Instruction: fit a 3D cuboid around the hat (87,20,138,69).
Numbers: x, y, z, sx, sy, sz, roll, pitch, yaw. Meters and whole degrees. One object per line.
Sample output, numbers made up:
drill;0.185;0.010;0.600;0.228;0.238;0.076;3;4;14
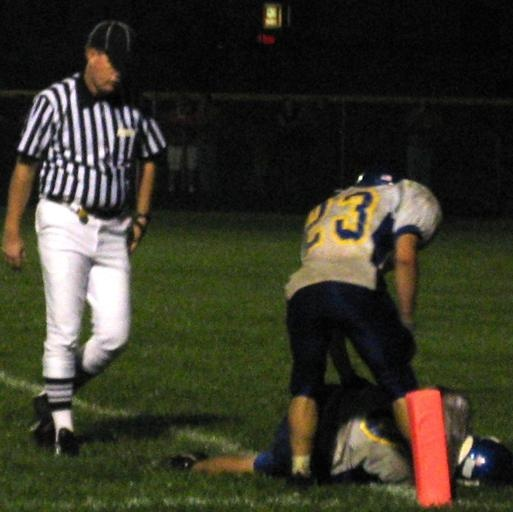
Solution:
hat;-0.700;-1.023;4.344;0.237;0.241;0.255;3;10;5

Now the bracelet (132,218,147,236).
bracelet;-0.624;-0.160;4.706;0.080;0.079;0.073;2;5;19

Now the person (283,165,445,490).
person;0.459;0.303;4.002;0.674;1.275;0.628;2;10;1

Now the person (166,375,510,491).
person;0.412;0.868;4.174;1.419;0.513;0.568;-3;-25;12

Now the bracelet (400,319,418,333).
bracelet;0.670;0.307;3.977;0.056;0.050;0.054;-1;3;-10

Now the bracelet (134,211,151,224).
bracelet;-0.598;-0.205;4.703;0.062;0.056;0.059;-8;13;-38

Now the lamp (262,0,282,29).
lamp;0.256;-4.363;16.170;0.400;0.526;0.389;-2;4;-10

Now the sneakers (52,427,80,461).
sneakers;-0.899;0.893;4.285;0.073;0.060;0.169;0;9;-20

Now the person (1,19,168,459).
person;-0.807;-0.125;4.460;0.779;2.046;0.469;-7;13;-44

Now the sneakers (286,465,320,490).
sneakers;0.191;0.950;3.838;0.112;0.063;0.149;4;5;7
